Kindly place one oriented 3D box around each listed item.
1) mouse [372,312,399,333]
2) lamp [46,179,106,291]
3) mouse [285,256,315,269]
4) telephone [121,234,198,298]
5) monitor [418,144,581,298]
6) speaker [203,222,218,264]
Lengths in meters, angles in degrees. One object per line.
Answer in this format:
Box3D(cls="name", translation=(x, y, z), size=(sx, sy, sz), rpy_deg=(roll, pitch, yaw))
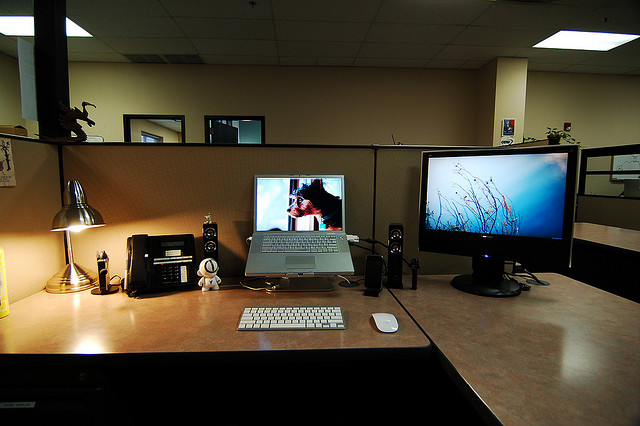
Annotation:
Box3D(cls="mouse", translation=(0.354, 0.583, 2.351), size=(0.135, 0.072, 0.139), rpy_deg=(-7, 10, -41))
Box3D(cls="lamp", translation=(-1.464, 0.127, 2.641), size=(0.327, 0.651, 0.242), rpy_deg=(1, 8, 12))
Box3D(cls="mouse", translation=(-0.120, 0.296, 2.629), size=(0.145, 0.027, 0.070), rpy_deg=(-1, 49, 0))
Box3D(cls="telephone", translation=(-0.929, 0.295, 2.698), size=(0.427, 0.345, 0.236), rpy_deg=(-4, -3, -8))
Box3D(cls="monitor", translation=(1.058, 0.036, 2.606), size=(0.994, 0.936, 0.393), rpy_deg=(1, 2, 24))
Box3D(cls="speaker", translation=(-0.663, 0.207, 2.756), size=(0.130, 0.285, 0.123), rpy_deg=(-1, 4, -11))
